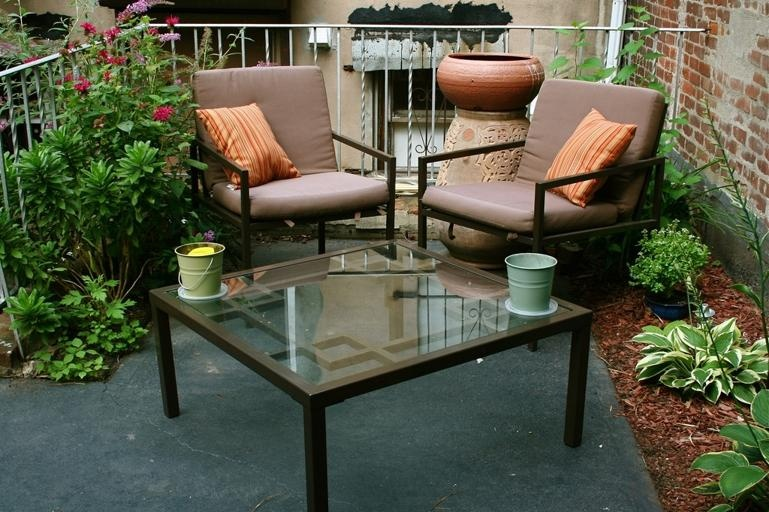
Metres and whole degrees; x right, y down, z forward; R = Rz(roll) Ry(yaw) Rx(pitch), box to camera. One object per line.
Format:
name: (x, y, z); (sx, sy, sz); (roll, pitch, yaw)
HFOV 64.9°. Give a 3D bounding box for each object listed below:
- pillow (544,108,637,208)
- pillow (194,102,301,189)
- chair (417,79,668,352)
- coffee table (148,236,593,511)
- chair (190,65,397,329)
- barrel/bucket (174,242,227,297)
pillow: (1.314, -0.603, 3.762); (0.454, 0.522, 0.673); (-4, 18, -14)
pillow: (-0.941, -0.768, 4.079); (0.441, 0.466, 0.554); (18, 28, 19)
chair: (1.047, -0.543, 4.004); (1.325, 0.919, 1.243); (-31, 35, -33)
coffee table: (-0.112, 0.299, 2.563); (1.467, 0.489, 1.405); (-14, 22, -33)
chair: (-0.403, -0.801, 4.587); (1.517, 1.543, 1.657); (-11, 22, -32)
barrel/bucket: (-0.814, 0.062, 2.814); (0.302, 0.180, 0.268); (1, 5, 0)
